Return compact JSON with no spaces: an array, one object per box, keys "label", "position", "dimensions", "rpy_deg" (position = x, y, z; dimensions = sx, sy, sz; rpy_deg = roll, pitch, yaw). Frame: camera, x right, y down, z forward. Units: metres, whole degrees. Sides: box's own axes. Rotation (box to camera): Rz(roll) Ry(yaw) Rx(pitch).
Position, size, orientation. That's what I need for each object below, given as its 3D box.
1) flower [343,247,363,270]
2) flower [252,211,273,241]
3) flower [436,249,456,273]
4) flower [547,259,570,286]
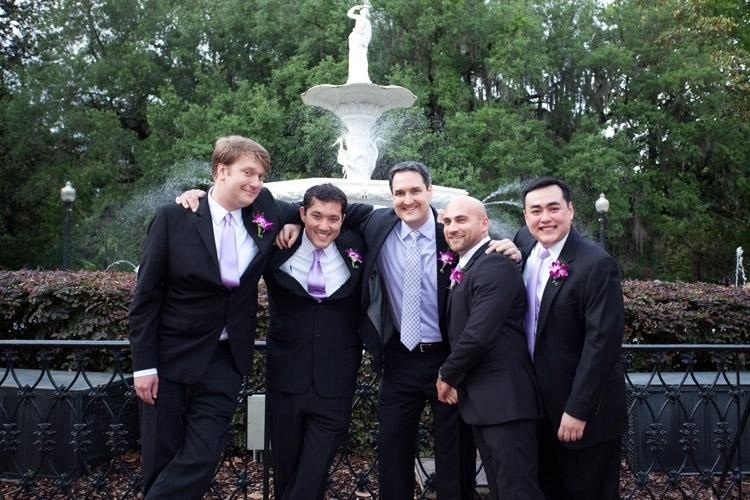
[{"label":"flower","position":[-0.275,0.111,8.896],"dimensions":[0.101,0.237,0.231],"rpy_deg":[-23,-34,21]},{"label":"flower","position":[-1.407,-0.315,8.645],"dimensions":[0.272,0.276,0.129],"rpy_deg":[25,-13,-11]},{"label":"flower","position":[0.903,0.135,8.864],"dimensions":[0.238,0.239,0.096],"rpy_deg":[29,-1,19]},{"label":"flower","position":[2.207,0.252,8.312],"dimensions":[0.261,0.248,0.142],"rpy_deg":[-3,-6,1]}]
